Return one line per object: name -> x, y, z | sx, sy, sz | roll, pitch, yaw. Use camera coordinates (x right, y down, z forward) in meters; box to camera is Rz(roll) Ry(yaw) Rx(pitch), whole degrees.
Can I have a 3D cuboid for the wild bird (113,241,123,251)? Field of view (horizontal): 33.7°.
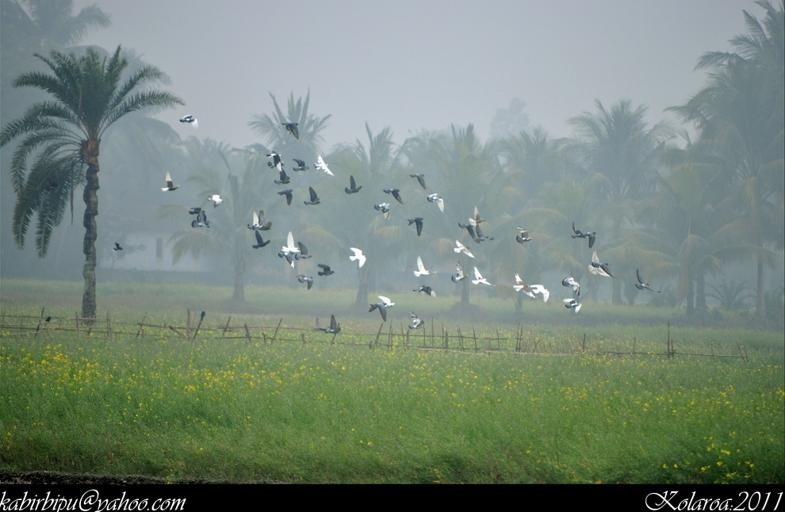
wild bird -> -17.187, -0.618, 80.583 | 0.447, 0.512, 1.315 | -3, -9, -22
